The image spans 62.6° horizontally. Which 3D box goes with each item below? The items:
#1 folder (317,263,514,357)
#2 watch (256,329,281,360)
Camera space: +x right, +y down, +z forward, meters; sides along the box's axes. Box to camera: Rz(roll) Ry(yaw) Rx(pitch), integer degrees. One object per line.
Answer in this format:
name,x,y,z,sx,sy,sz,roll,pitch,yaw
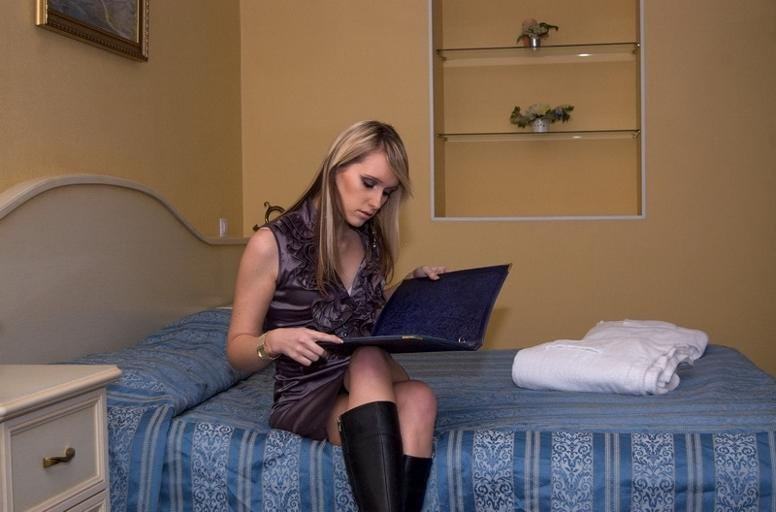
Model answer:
folder,0.072,0.183,2.171,0.511,0.275,0.715,-5,-4,30
watch,-0.384,0.288,2.044,0.092,0.095,0.058,3,2,-42
